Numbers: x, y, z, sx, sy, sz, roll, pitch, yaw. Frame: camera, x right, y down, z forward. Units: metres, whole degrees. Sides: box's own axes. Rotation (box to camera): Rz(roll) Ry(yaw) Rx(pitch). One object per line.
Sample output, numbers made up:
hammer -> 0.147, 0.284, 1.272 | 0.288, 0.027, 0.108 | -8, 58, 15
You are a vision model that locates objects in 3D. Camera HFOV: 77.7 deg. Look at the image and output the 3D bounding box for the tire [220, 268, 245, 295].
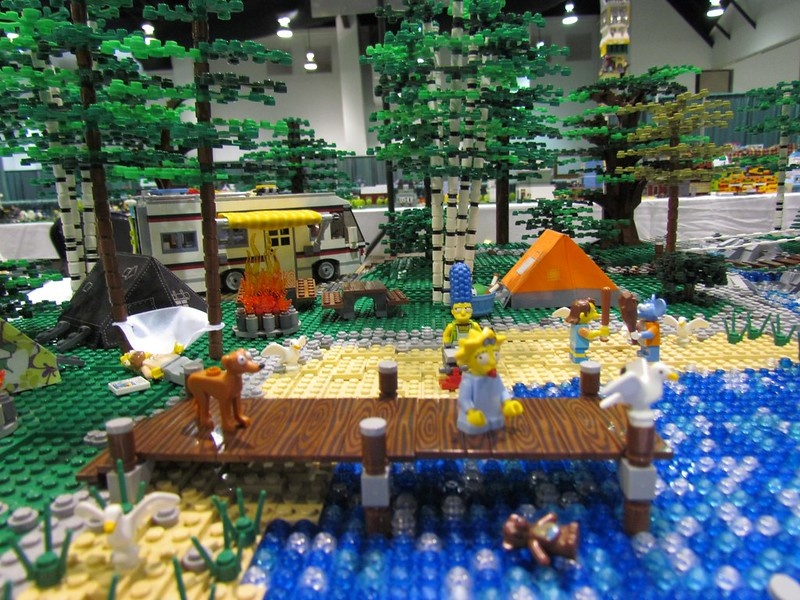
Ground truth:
tire -> -2.363, -0.285, 6.963 | 0.500, 0.423, 0.172 | 2, 15, -18
